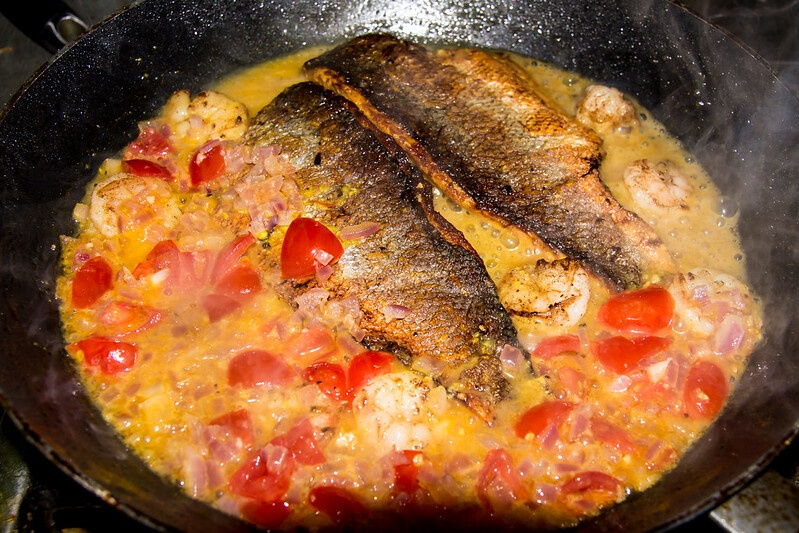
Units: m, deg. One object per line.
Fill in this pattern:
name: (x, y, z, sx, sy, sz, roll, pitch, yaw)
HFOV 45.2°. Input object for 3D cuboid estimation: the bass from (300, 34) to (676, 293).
bass: (0.686, -0.743, 7.573, 3.499, 0.403, 1.265, 30, 80, 11)

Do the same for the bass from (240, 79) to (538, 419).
bass: (-0.091, -0.145, 7.414, 1.079, 0.428, 2.836, -32, 85, -2)
